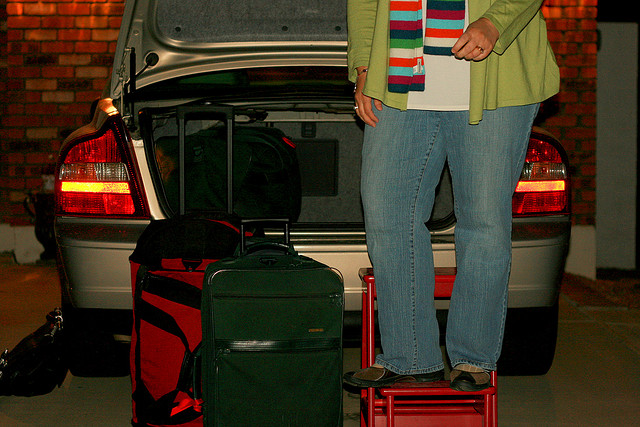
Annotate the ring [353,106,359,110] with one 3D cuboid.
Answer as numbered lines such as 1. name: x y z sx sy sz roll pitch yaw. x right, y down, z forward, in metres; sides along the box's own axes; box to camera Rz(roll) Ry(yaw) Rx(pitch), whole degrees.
1. ring: 0.198 -0.562 4.649 0.010 0.023 0.030 -1 5 -31

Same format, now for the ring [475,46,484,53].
1. ring: 0.794 -0.813 4.371 0.027 0.008 0.027 36 -8 6

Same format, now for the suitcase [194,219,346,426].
1. suitcase: -0.246 0.576 4.673 0.754 1.050 0.400 -1 14 1

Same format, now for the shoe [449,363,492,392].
1. shoe: 0.781 0.843 4.532 0.205 0.115 0.142 1 15 8

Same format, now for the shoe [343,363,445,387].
1. shoe: 0.398 0.827 4.604 0.486 0.144 0.181 3 -6 -4

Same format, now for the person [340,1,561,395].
1. person: 0.650 -0.106 4.551 0.992 1.934 0.615 1 14 7

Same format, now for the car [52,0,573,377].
1. car: -0.345 -0.294 6.588 1.875 1.894 3.375 0 4 0
